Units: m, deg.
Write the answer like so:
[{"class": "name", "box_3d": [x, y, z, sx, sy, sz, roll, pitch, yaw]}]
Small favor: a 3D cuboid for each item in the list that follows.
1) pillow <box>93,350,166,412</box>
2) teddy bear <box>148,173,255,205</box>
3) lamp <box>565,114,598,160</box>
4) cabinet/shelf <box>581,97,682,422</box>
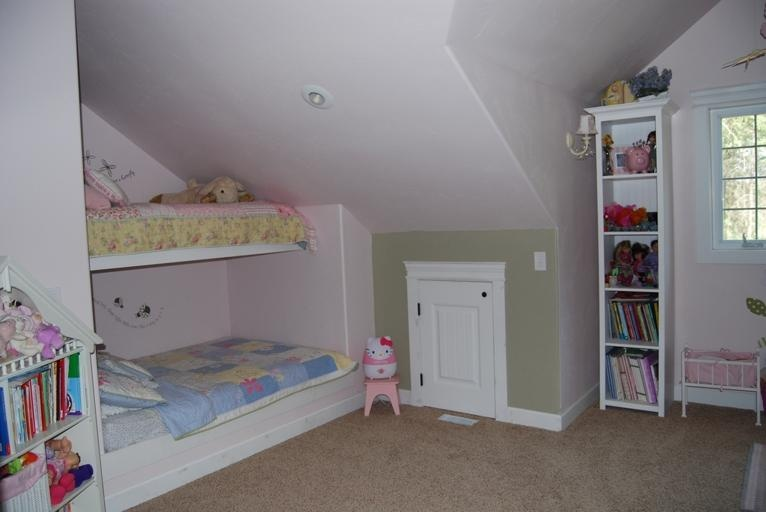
[{"class": "pillow", "box_3d": [-1.758, 0.866, 3.891, 0.382, 0.305, 0.461, -9, 13, -24]}, {"class": "teddy bear", "box_3d": [-1.533, -0.518, 4.780, 0.586, 0.173, 0.427, -3, 1, 15]}, {"class": "lamp", "box_3d": [1.518, -0.903, 4.236, 0.226, 0.320, 0.173, 4, 8, 33]}, {"class": "cabinet/shelf", "box_3d": [2.104, -0.015, 4.690, 0.701, 2.537, 0.902, 3, 14, 28]}]
